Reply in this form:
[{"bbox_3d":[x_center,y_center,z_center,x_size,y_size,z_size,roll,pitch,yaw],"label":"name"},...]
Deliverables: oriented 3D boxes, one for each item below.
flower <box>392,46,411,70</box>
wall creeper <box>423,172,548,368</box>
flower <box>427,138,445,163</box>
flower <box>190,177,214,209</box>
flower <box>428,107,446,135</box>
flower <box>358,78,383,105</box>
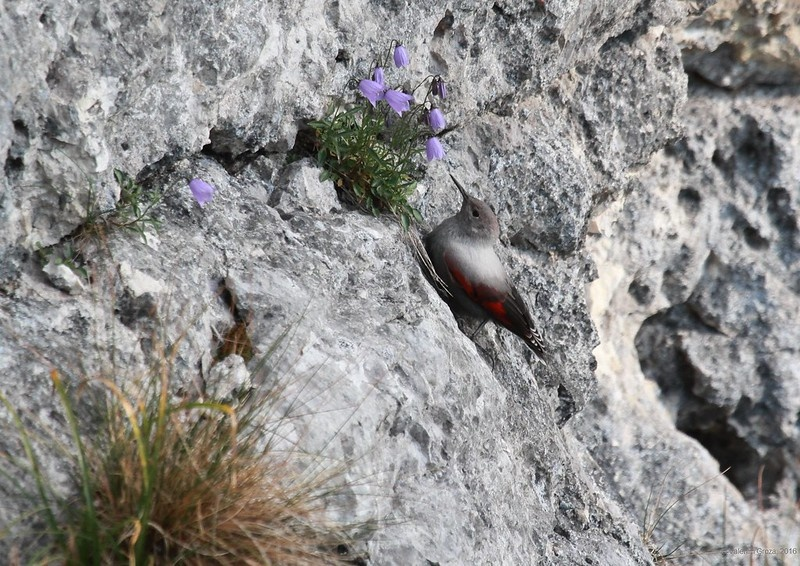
[{"bbox_3d":[-0.001,-1.643,9.593,0.094,0.161,0.064,-24,30,-10],"label":"flower"},{"bbox_3d":[0.729,-0.088,10.204,1.121,1.122,0.631,23,21,7],"label":"wall creeper"},{"bbox_3d":[0.248,-0.968,9.736,0.067,0.114,0.187,-151,-140,-70],"label":"flower"},{"bbox_3d":[-1.303,-0.606,8.779,0.176,0.142,0.063,50,9,-5],"label":"flower"},{"bbox_3d":[0.272,-1.205,9.721,0.052,0.109,0.193,16,50,-60],"label":"flower"},{"bbox_3d":[-0.209,-1.390,9.473,0.178,0.119,0.092,42,6,9],"label":"flower"}]
